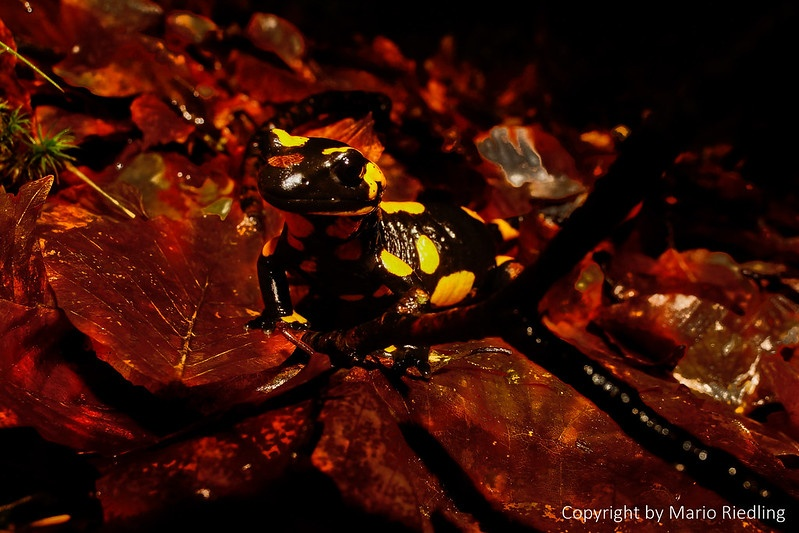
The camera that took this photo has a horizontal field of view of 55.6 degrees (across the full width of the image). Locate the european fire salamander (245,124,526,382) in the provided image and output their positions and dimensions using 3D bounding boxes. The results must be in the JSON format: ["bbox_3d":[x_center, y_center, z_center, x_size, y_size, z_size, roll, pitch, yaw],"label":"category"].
[{"bbox_3d":[0.011,-0.065,1.673,0.359,0.286,0.625,9,7,37],"label":"european fire salamander"}]
